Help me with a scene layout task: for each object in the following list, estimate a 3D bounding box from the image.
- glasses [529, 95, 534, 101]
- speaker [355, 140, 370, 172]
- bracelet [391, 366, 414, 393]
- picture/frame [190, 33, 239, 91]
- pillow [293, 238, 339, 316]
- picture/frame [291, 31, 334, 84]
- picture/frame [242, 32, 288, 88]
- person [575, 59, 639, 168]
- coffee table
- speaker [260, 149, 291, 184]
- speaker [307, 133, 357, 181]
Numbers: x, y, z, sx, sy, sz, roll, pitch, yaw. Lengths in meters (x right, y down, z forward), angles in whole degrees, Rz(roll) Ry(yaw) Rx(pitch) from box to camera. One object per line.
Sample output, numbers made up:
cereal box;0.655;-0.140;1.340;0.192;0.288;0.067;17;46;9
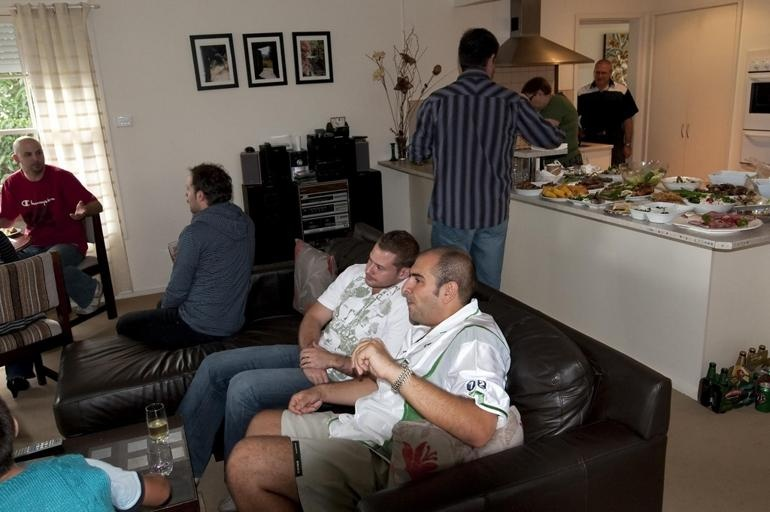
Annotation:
glasses;1.488;-1.607;5.407;0.043;0.038;0.011;1;0;45
speaker;-0.261;-1.159;6.105;0.139;0.357;0.123;-1;18;1
bracelet;0.056;0.516;2.206;0.037;0.103;0.088;29;23;12
picture/frame;-1.827;-2.072;5.620;0.550;0.669;0.028;-9;17;-13
pillow;-0.475;0.159;3.640;0.166;0.440;0.471;4;11;-35
picture/frame;-0.828;-2.232;5.926;0.552;0.643;0.031;-6;12;-16
picture/frame;-1.322;-2.150;5.777;0.560;0.652;0.053;-7;14;-15
person;2.685;-1.738;6.447;0.677;1.199;0.556;5;19;18
coffee table;-1.070;0.891;2.280;0.537;0.126;0.488;-3;13;-18
speaker;-1.206;-1.007;5.840;0.325;0.411;0.151;-5;18;-11
speaker;-0.602;-1.142;6.129;0.643;0.650;0.486;-7;24;-18
